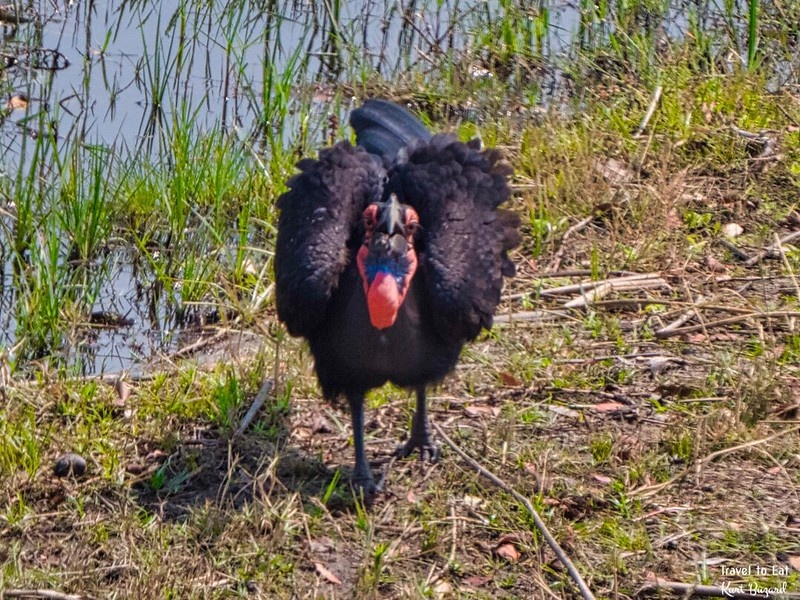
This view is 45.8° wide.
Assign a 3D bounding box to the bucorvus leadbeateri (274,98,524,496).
[{"bbox_3d":[-0.021,-0.104,5.182,0.951,2.307,1.259,-1,-16,0],"label":"bucorvus leadbeateri"}]
